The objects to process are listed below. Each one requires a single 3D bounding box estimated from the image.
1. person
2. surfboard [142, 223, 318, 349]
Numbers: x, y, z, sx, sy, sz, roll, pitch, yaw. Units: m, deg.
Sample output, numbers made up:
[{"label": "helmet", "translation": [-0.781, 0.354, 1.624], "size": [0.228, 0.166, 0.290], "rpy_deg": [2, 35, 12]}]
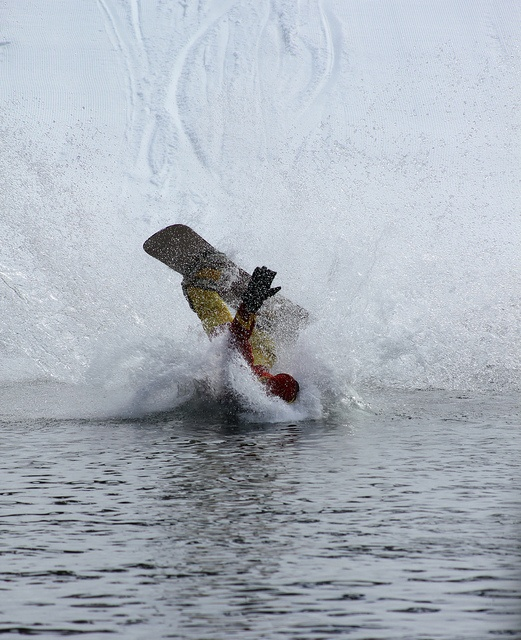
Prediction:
[{"label": "person", "translation": [-0.115, 0.077, 8.515], "size": [0.339, 1.238, 0.974], "rpy_deg": [8, 90, 24]}, {"label": "surfboard", "translation": [-0.383, -0.359, 10.456], "size": [0.420, 1.763, 0.236], "rpy_deg": [-36, 55, 12]}]
